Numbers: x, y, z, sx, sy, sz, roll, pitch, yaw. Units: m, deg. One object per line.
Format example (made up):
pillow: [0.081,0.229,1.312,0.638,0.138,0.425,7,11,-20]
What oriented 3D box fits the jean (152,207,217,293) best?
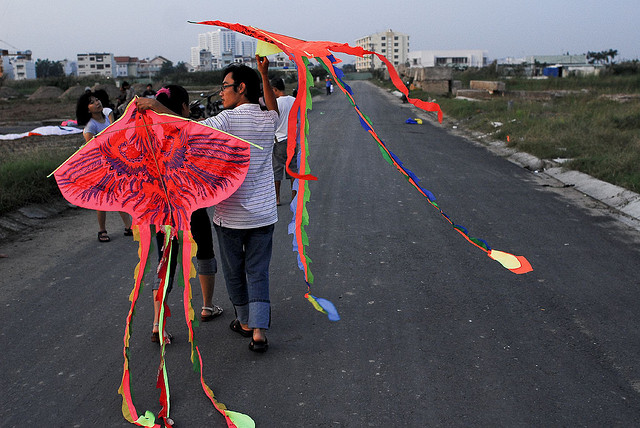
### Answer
jean: [-1.194,0.283,4.721,0.512,0.910,0.180,0,13,-19]

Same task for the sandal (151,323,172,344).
sandal: [-1.590,1.179,4.818,0.101,0.126,0.300,4,7,0]

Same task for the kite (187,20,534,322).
kite: [0.029,-0.387,5.683,3.026,4.901,1.338,-5,-14,2]

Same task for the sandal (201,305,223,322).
sandal: [-1.146,1.053,5.099,0.089,0.120,0.257,5,11,23]

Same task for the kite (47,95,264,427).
kite: [-1.362,0.239,4.114,1.648,2.385,1.178,4,19,15]

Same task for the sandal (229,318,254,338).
sandal: [-0.787,1.130,4.850,0.122,0.118,0.258,-7,19,-40]
